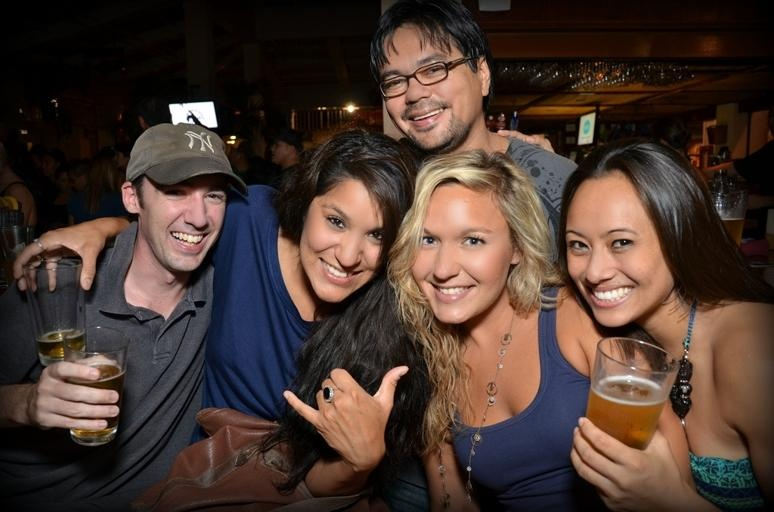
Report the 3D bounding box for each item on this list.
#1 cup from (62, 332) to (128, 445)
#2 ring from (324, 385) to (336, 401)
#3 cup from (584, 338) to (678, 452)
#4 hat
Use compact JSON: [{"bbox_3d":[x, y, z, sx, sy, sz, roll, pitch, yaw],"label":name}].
[{"bbox_3d":[-1.301,0.594,2.488,0.291,0.549,0.237,-3,0,9],"label":"cup"},{"bbox_3d":[-0.283,0.669,2.654,0.023,0.065,0.066,1,21,-43],"label":"ring"},{"bbox_3d":[1.033,0.592,2.299,0.270,0.453,0.257,-3,0,0],"label":"cup"},{"bbox_3d":[-1.149,-0.579,3.109,0.640,0.421,0.359,-3,-1,-20],"label":"hat"}]
